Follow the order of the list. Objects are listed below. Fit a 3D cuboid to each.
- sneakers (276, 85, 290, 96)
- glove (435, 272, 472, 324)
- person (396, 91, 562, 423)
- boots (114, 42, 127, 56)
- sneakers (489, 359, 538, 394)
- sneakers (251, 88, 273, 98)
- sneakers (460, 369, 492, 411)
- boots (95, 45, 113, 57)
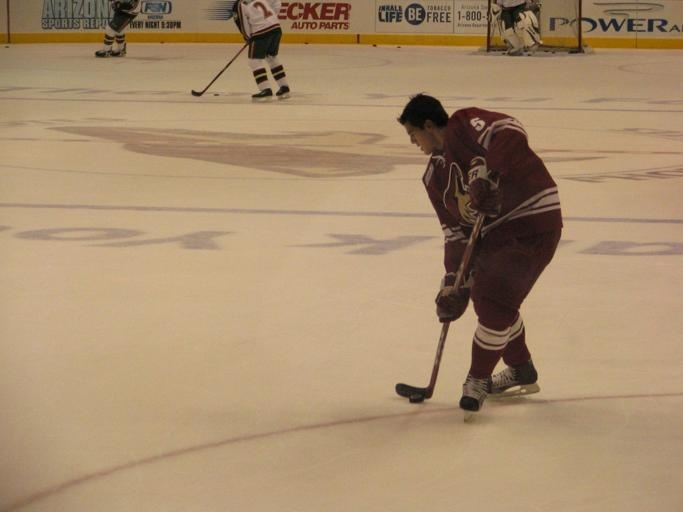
[{"bbox_3d":[-0.599,-1.691,7.882,0.123,0.118,0.168,1,11,-1],"label":"sneakers"},{"bbox_3d":[0.334,0.126,2.288,0.102,0.151,0.043,26,0,29],"label":"glove"},{"bbox_3d":[0.412,-0.014,2.280,0.390,0.911,0.380,-8,15,-34],"label":"person"},{"bbox_3d":[-3.424,-3.160,11.821,0.211,0.184,0.200,1,12,0],"label":"boots"},{"bbox_3d":[0.483,0.374,2.357,0.220,0.117,0.071,0,4,4],"label":"sneakers"},{"bbox_3d":[-0.787,-1.666,7.855,0.269,0.095,0.079,-5,34,6],"label":"sneakers"},{"bbox_3d":[0.385,0.385,2.210,0.062,0.054,0.155,3,16,15],"label":"sneakers"},{"bbox_3d":[-3.650,-3.125,11.788,0.240,0.163,0.321,-2,11,-16],"label":"boots"}]
